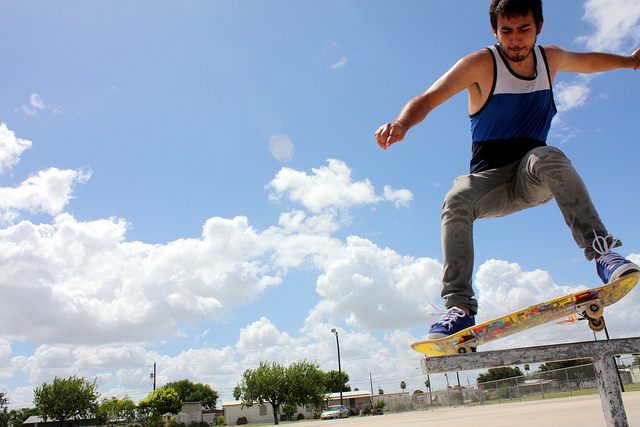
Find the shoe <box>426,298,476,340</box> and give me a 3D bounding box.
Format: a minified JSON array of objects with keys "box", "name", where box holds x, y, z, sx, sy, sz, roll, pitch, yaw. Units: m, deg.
[{"box":[1.388,1.130,5.546,0.708,0.302,0.242,8,-12,-37],"name":"shoe"}]
